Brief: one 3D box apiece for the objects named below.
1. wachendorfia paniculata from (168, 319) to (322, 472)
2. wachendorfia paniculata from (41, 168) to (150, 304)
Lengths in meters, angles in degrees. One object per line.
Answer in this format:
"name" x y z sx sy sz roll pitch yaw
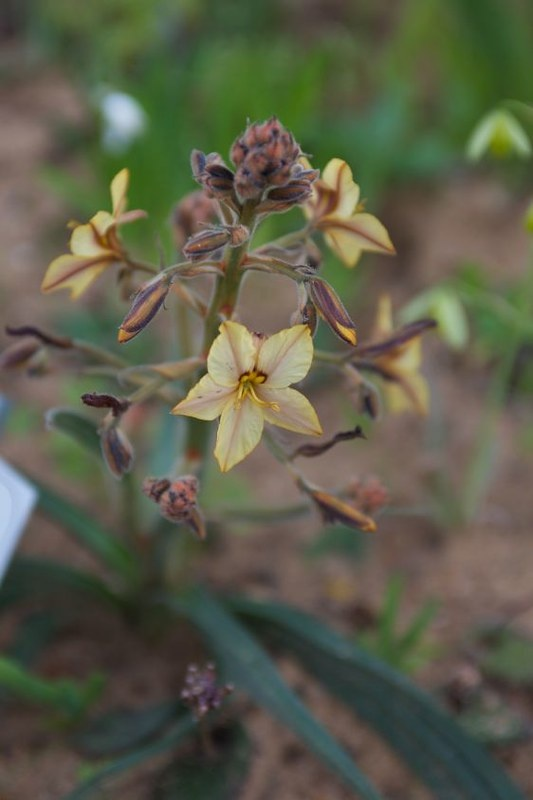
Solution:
"wachendorfia paniculata" -0.017 -0.028 0.826 0.185 0.172 0.058 3 52 37
"wachendorfia paniculata" -0.204 -0.196 0.947 0.075 0.131 0.159 31 61 -7
